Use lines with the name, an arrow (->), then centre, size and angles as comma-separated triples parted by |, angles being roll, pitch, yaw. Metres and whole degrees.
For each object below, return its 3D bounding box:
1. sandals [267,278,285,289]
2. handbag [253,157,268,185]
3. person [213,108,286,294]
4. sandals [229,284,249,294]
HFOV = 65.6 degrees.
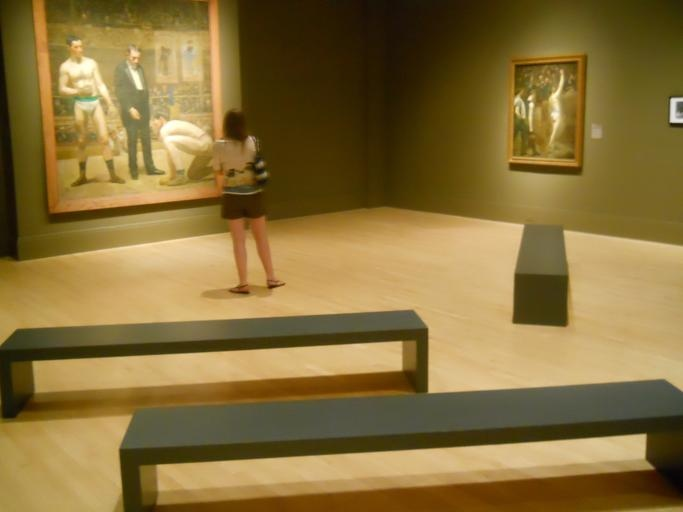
sandals -> -0.890, 0.371, 7.048 | 0.172, 0.078, 0.099 | -4, 1, 33
handbag -> -0.985, -1.046, 6.576 | 0.157, 0.367, 0.254 | 2, 15, 11
person -> -1.214, -0.666, 6.705 | 0.707, 2.285, 0.413 | -3, 14, -10
sandals -> -1.323, 0.415, 6.878 | 0.232, 0.120, 0.114 | 6, 7, 14
